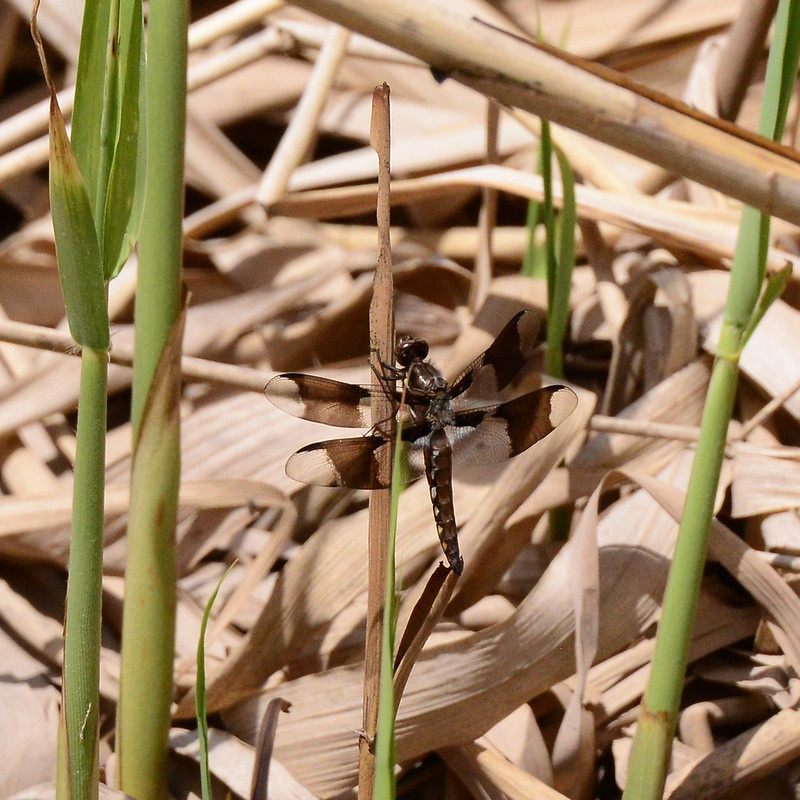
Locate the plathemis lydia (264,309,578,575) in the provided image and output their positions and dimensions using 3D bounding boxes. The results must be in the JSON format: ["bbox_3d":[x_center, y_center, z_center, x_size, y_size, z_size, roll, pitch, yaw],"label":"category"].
[{"bbox_3d":[0.025,0.007,0.709,0.151,0.145,0.059,-4,-42,-14],"label":"plathemis lydia"}]
